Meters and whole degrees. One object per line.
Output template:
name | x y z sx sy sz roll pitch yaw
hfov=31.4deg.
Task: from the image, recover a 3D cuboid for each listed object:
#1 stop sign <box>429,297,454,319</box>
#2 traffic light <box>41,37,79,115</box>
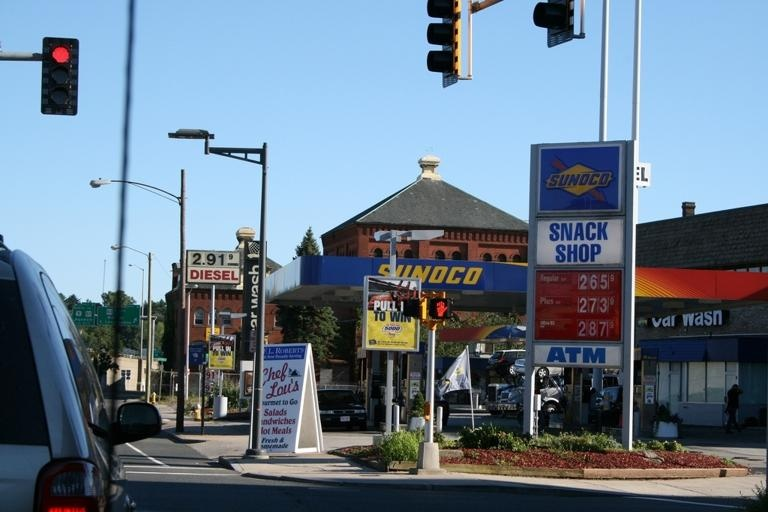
stop sign | 1.613 1.547 40.185 0.884 0.976 0.516 -1 -4 3
traffic light | -8.649 -4.869 36.519 0.937 2.143 0.554 3 -6 -19
